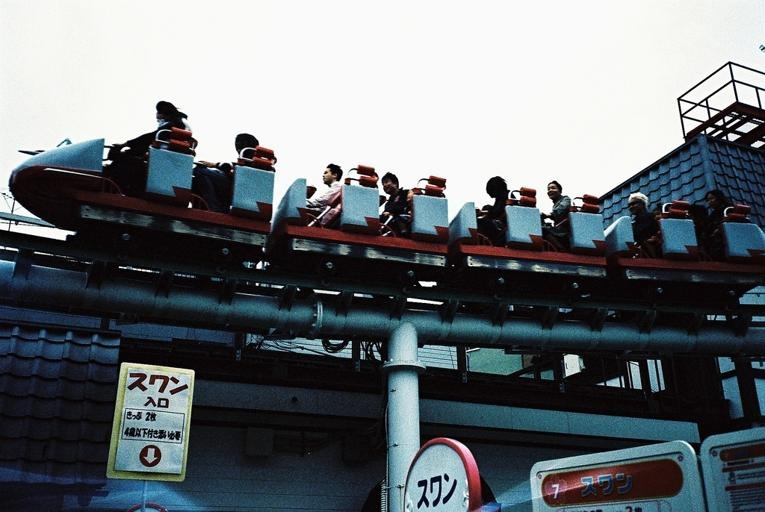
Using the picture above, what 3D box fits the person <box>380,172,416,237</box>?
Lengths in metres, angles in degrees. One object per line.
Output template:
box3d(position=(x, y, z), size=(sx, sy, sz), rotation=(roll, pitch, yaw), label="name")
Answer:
box3d(position=(0.280, -1.178, 19.910), size=(0.706, 1.844, 0.749), rotation=(3, -30, -1), label="person")

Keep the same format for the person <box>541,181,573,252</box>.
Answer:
box3d(position=(3.939, -0.700, 19.228), size=(0.920, 1.649, 0.718), rotation=(10, -47, 3), label="person")

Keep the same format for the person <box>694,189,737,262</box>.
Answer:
box3d(position=(8.422, -0.727, 21.583), size=(1.024, 2.294, 0.761), rotation=(6, -48, 24), label="person")

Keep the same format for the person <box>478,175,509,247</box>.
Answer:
box3d(position=(2.566, -1.097, 20.030), size=(0.687, 1.797, 1.024), rotation=(-1, -30, 6), label="person")
